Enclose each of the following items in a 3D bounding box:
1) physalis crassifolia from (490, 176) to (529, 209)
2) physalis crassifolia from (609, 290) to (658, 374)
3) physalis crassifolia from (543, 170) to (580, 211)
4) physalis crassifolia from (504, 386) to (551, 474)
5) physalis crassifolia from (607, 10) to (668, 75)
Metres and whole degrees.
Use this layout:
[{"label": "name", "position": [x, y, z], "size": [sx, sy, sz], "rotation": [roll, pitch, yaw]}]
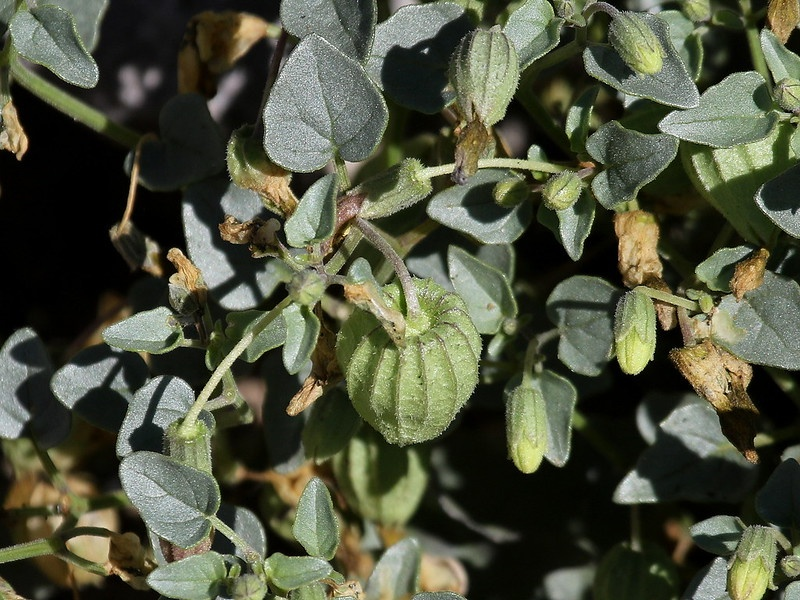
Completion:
[{"label": "physalis crassifolia", "position": [0.201, -0.189, 1.708], "size": [0.057, 0.053, 0.020], "rotation": [-16, 20, -23]}, {"label": "physalis crassifolia", "position": [0.410, 0.056, 1.655], "size": [0.057, 0.150, 0.073], "rotation": [-3, -5, 40]}, {"label": "physalis crassifolia", "position": [0.290, -0.194, 1.669], "size": [0.068, 0.057, 0.040], "rotation": [-36, 1, 2]}, {"label": "physalis crassifolia", "position": [0.224, 0.228, 1.689], "size": [0.066, 0.160, 0.070], "rotation": [3, -18, -15]}, {"label": "physalis crassifolia", "position": [0.407, -0.445, 1.621], "size": [0.071, 0.119, 0.043], "rotation": [-28, -7, 7]}]
